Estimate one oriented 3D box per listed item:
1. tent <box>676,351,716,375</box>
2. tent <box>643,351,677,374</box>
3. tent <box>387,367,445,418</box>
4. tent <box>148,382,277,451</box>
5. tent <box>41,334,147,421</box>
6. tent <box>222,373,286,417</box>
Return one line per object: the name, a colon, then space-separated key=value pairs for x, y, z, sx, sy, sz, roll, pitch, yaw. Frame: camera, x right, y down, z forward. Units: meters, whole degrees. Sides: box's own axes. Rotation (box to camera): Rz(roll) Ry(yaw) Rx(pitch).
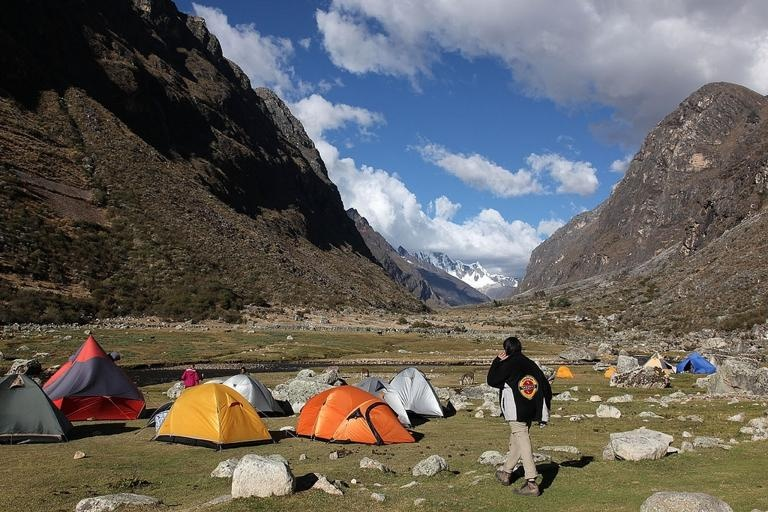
tent: x=30.801 y=10.473 z=50.844 sx=2.271 sy=2.082 sz=2.986 roll=4 pitch=-11 yaw=-16
tent: x=26.797 y=10.303 z=49.935 sx=1.903 sy=1.905 sz=6.484 roll=-6 pitch=-13 yaw=37
tent: x=2.242 y=9.732 z=37.423 sx=3.287 sy=3.279 sz=4.933 roll=-2 pitch=-4 yaw=-1
tent: x=-10.350 y=9.150 z=29.945 sx=6.834 sy=3.449 sz=5.648 roll=-1 pitch=-12 yaw=-8
tent: x=-19.685 y=8.061 z=34.747 sx=5.865 sy=3.668 sz=5.902 roll=1 pitch=-1 yaw=2
tent: x=-9.147 y=9.939 z=36.575 sx=3.926 sy=3.207 sz=4.466 roll=3 pitch=-6 yaw=-14
